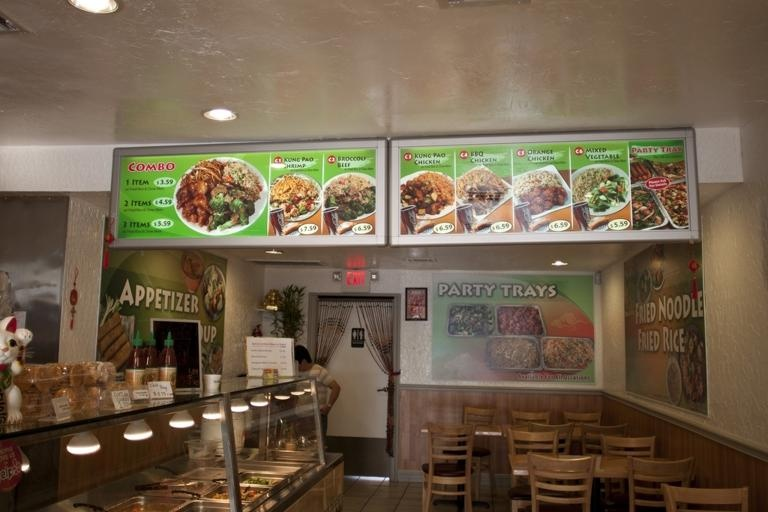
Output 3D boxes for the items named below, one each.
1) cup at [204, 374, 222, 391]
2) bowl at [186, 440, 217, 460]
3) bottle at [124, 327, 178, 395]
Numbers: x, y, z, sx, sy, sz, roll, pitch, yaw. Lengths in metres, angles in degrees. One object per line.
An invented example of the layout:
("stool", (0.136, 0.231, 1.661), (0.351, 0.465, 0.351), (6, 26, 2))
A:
("cup", (-1.049, 0.763, 3.370), (0.126, 0.090, 0.122), (0, -15, 0))
("bowl", (-0.996, 1.050, 3.029), (0.133, 0.075, 0.171), (1, -4, 32))
("bottle", (-1.330, 0.552, 3.084), (0.178, 0.368, 0.226), (-9, 1, 11))
